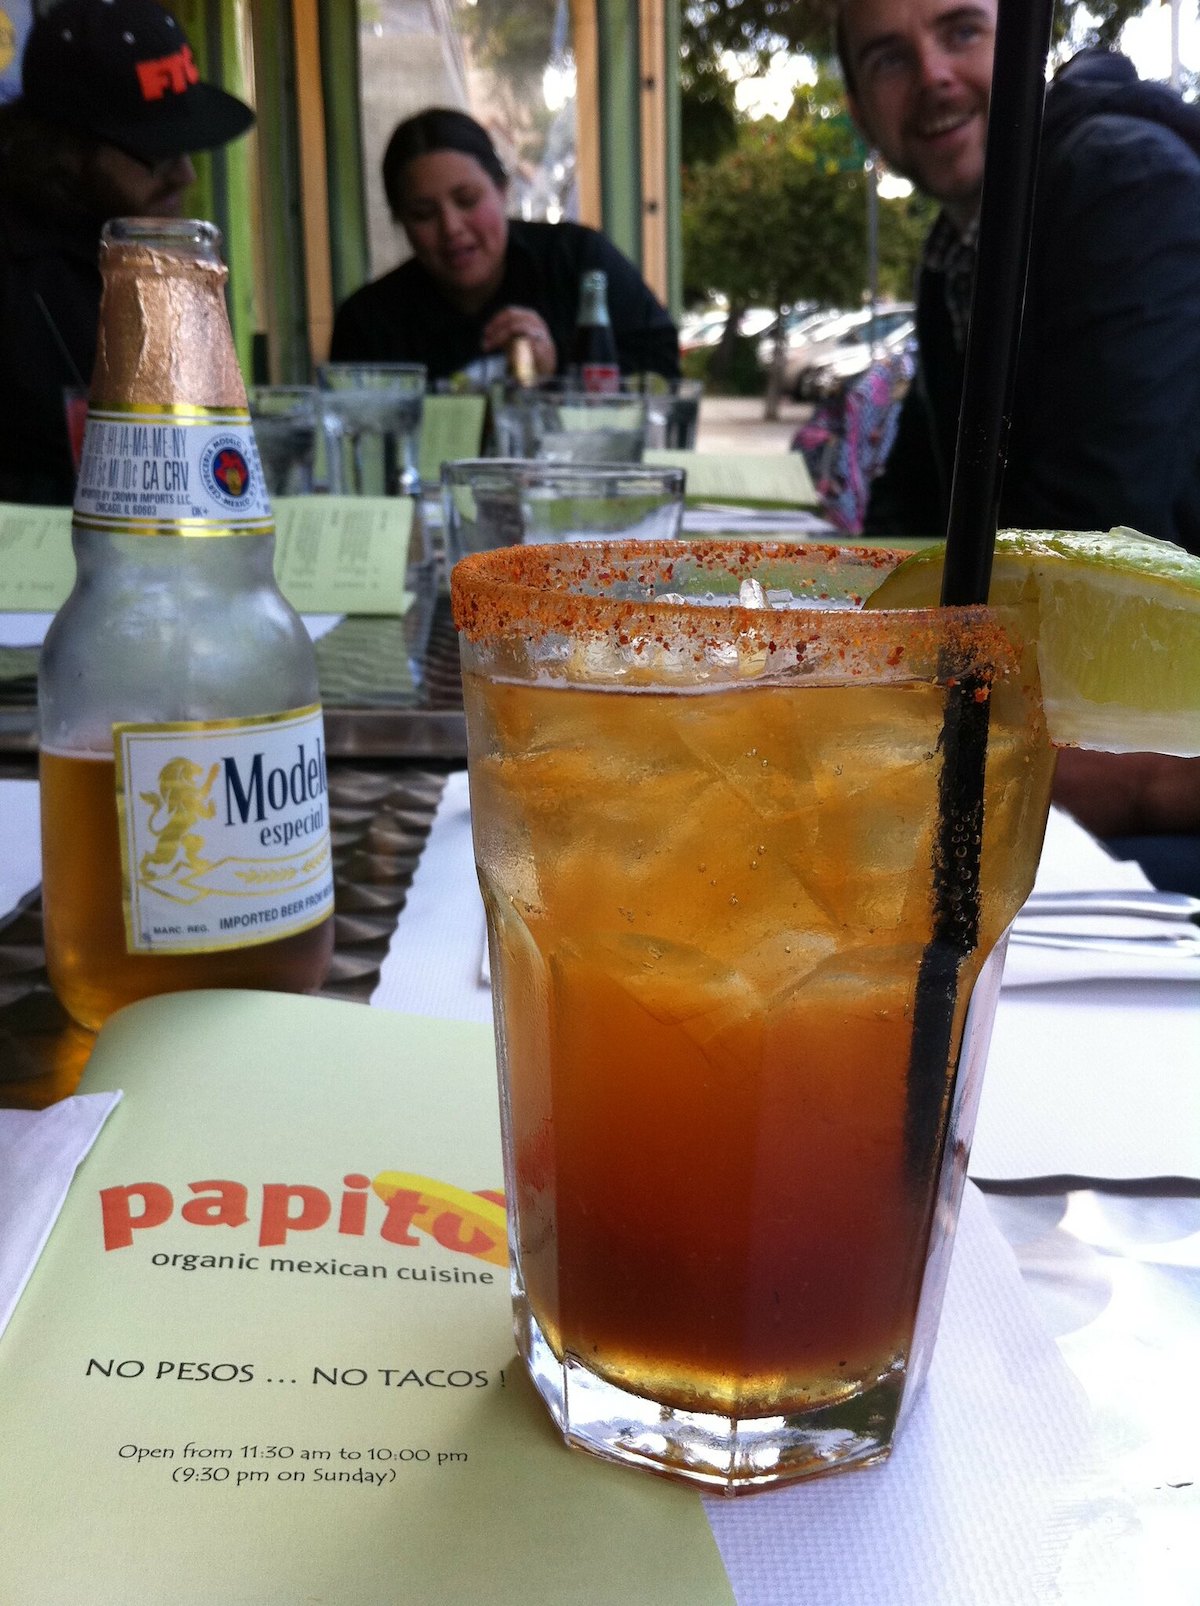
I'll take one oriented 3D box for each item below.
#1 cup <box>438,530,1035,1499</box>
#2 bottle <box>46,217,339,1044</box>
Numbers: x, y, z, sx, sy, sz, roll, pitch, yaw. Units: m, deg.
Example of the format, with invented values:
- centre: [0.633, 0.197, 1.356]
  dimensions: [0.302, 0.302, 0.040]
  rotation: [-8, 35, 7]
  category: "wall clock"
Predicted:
- centre: [0.029, 0.058, 0.415]
  dimensions: [0.176, 0.236, 0.121]
  rotation: [5, 21, 16]
  category: "cup"
- centre: [-0.187, -0.066, 0.592]
  dimensions: [0.137, 0.319, 0.144]
  rotation: [0, 20, 0]
  category: "bottle"
